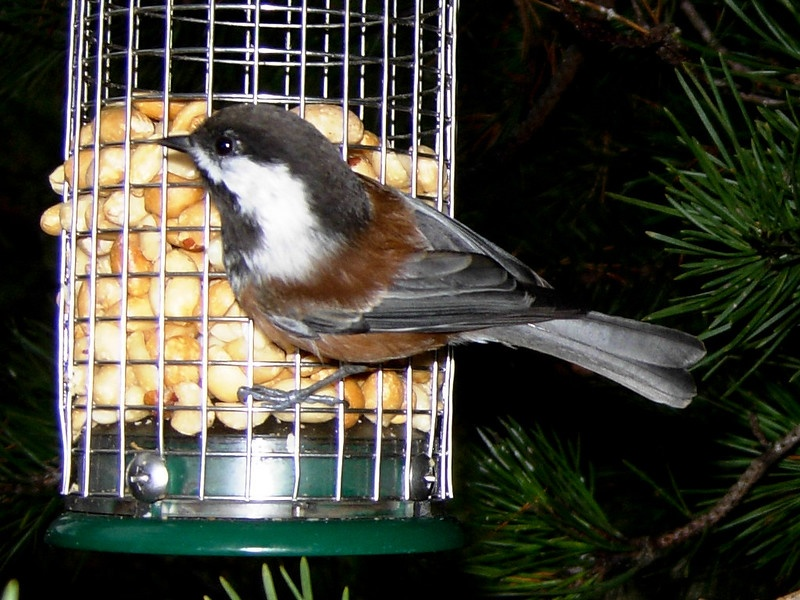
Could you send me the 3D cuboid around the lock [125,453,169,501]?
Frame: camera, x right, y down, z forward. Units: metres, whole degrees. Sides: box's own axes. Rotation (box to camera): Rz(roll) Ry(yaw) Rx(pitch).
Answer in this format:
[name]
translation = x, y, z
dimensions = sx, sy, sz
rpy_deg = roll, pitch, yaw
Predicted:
[lock]
translation = -0.929, 0.646, 3.527
dimensions = 0.173, 0.100, 0.155
rpy_deg = 22, 88, 10
